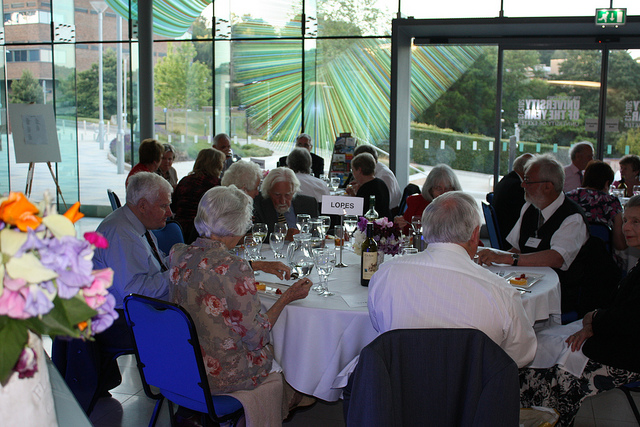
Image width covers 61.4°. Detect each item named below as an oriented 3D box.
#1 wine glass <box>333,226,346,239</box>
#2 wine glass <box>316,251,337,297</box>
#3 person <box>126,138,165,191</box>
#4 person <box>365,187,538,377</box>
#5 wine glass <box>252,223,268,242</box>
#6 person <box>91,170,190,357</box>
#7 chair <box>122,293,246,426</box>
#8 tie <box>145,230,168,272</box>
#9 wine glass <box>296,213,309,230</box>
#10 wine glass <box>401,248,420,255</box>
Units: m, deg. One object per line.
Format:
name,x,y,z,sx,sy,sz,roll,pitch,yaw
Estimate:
wine glass,0.143,0.137,4.179,0.081,0.100,0.085,6,11,25
wine glass,0.040,0.368,3.466,0.112,0.286,0.311,0,3,3
person,-2.082,-0.554,6.493,0.387,0.758,0.483,5,13,-29
person,0.695,0.426,2.957,0.965,0.989,0.549,7,6,33
wine glass,-0.432,0.126,3.954,0.107,0.177,0.112,1,-1,-4
person,-1.255,0.402,3.851,0.697,1.358,0.680,8,13,-14
chair,-0.762,0.814,3.003,0.626,0.762,0.368,2,4,30
tie,-1.172,0.270,3.860,0.051,0.479,0.040,-4,42,13
wine glass,-0.140,0.060,4.445,0.108,0.170,0.112,1,-1,-2
wine glass,0.632,0.256,3.693,0.074,0.074,0.072,0,0,-36
